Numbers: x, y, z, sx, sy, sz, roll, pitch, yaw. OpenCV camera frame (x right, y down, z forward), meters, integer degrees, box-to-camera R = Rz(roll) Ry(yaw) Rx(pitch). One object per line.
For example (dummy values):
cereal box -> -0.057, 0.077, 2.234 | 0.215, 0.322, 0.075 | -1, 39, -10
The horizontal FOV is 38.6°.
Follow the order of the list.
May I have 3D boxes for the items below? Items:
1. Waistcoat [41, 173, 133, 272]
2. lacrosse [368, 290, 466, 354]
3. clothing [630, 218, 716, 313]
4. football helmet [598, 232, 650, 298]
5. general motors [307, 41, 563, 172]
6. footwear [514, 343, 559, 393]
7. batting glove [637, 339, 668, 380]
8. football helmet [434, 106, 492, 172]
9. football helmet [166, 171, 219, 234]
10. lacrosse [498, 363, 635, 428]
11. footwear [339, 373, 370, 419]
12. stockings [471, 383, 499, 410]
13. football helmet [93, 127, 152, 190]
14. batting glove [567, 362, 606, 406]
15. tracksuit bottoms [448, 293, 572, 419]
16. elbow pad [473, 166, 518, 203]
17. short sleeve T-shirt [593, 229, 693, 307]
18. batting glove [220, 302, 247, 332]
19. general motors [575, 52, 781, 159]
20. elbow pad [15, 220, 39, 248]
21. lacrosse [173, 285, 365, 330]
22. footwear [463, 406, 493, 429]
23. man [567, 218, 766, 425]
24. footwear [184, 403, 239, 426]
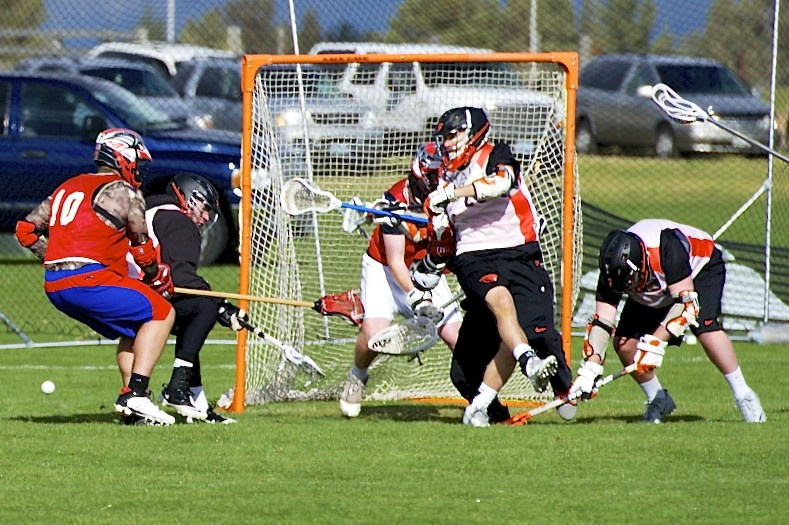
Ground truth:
Waistcoat -> -2.369, -0.273, 8.553 | 0.596, 0.829, 0.497 | -2, -11, 29
lacrosse -> 0.169, 0.570, 9.180 | 0.921, 0.251, 0.115 | -37, -24, -5
clothing -> 2.180, -0.032, 8.978 | 0.714, 0.548, 0.513 | -1, -1, -38
football helmet -> 1.796, 0.002, 8.844 | 0.407, 0.495, 0.532 | 11, 9, 25
general motors -> 0.502, -1.736, 11.670 | 2.356, 1.144, 1.419 | 0, 4, 28
footwear -> 1.035, 0.771, 8.420 | 0.229, 0.178, 0.515 | 12, -32, 49
batting glove -> 2.002, 0.747, 8.904 | 0.224, 0.375, 0.197 | 8, 20, 22
football helmet -> 0.485, -0.974, 8.872 | 0.467, 0.474, 0.381 | -3, 3, -8
football helmet -> -1.625, -0.479, 9.104 | 0.436, 0.410, 0.339 | 33, -5, -19
lacrosse -> 1.355, 1.093, 9.181 | 0.910, 0.140, 0.100 | -29, -26, 13
footwear -> -0.348, 1.134, 9.301 | 0.141, 0.400, 0.175 | 7, -18, -8
stockings -> 0.698, 1.046, 8.899 | 0.139, 0.175, 0.123 | 30, 6, -27
football helmet -> -2.127, -0.814, 8.668 | 0.450, 0.452, 0.370 | -4, 13, -29
batting glove -> 1.477, 1.039, 8.820 | 0.291, 0.190, 0.486 | -28, 9, 12
tracksuit bottoms -> 0.714, 0.707, 8.853 | 0.909, 0.954, 0.273 | 9, -16, -1
elbow pad -> 0.755, -0.587, 8.514 | 0.310, 0.203, 0.131 | -23, -12, -5
short sleeve T-shirt -> 1.881, 0.004, 8.666 | 0.450, 0.578, 0.644 | 5, -34, 22
batting glove -> -1.315, 0.439, 9.189 | 0.243, 0.187, 0.111 | 44, 6, -9
general motors -> 4.891, -2.690, 19.048 | 3.307, 1.492, 1.951 | 3, 4, 42
elbow pad -> -2.853, -0.234, 8.766 | 0.204, 0.156, 0.081 | 34, 24, 24
lacrosse -> -0.968, 0.331, 9.244 | 1.380, 0.199, 0.528 | 11, -7, -2
footwear -> 0.650, 1.217, 8.813 | 0.197, 0.153, 0.125 | 9, -6, -2
man -> 2.057, 0.552, 9.026 | 1.465, 1.710, 1.168 | -11, 8, -10
footwear -> -1.439, 1.193, 8.872 | 0.422, 0.190, 0.146 | 2, 1, -8
